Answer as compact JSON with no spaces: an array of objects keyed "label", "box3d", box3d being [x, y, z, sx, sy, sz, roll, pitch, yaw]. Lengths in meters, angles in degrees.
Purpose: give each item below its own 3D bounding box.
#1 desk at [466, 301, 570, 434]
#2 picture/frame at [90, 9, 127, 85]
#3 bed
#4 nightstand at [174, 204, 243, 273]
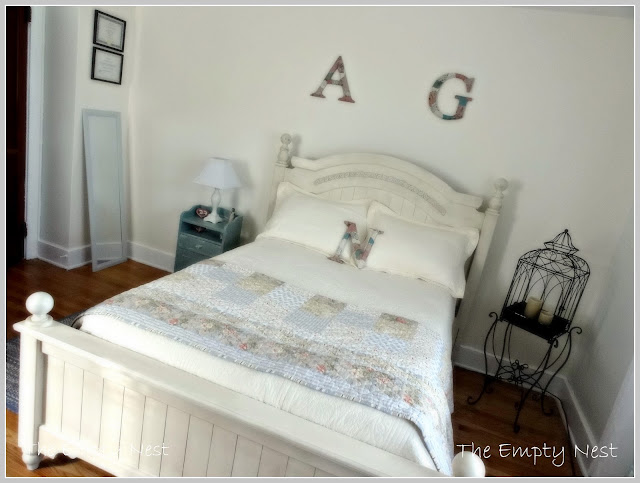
[{"label":"desk","box3d":[1.311,0.830,2.991,0.503,0.785,0.540,29,16,31]},{"label":"picture/frame","box3d":[-1.601,-1.467,3.492,0.064,0.496,0.268,17,18,27]},{"label":"bed","box3d":[-0.085,0.306,2.500,1.829,1.487,2.006,15,17,18]},{"label":"nightstand","box3d":[-0.931,0.073,3.655,0.358,0.608,0.221,17,24,0]}]
